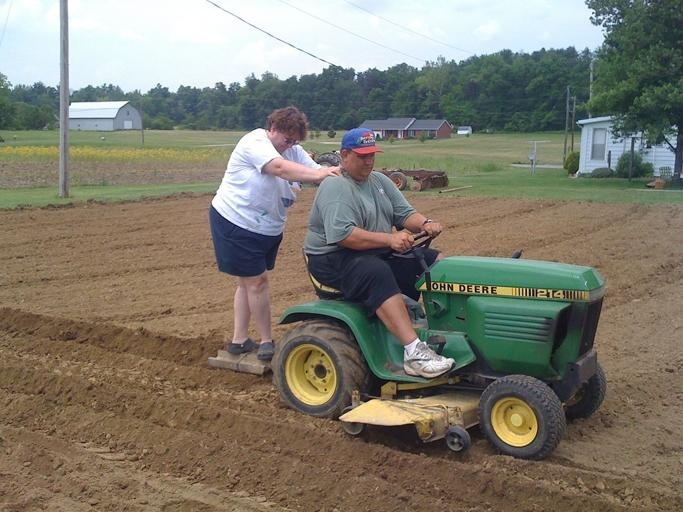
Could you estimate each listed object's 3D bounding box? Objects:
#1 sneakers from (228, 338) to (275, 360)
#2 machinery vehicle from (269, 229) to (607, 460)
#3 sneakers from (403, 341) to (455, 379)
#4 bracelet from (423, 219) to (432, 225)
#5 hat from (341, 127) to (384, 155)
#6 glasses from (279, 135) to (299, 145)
[{"bbox_3d":[-0.892,0.906,6.541,0.578,0.222,0.202,4,3,4],"label":"sneakers"},{"bbox_3d":[0.749,0.681,5.758,2.768,1.497,2.171,1,2,36],"label":"machinery vehicle"},{"bbox_3d":[0.694,0.795,5.204,0.419,0.254,0.219,0,11,25],"label":"sneakers"},{"bbox_3d":[0.764,-0.317,5.859,0.052,0.060,0.066,10,42,-17],"label":"bracelet"},{"bbox_3d":[0.155,-0.977,5.540,0.296,0.145,0.218,9,14,37],"label":"hat"},{"bbox_3d":[-0.495,-1.102,6.206,0.107,0.054,0.082,8,23,29],"label":"glasses"}]
